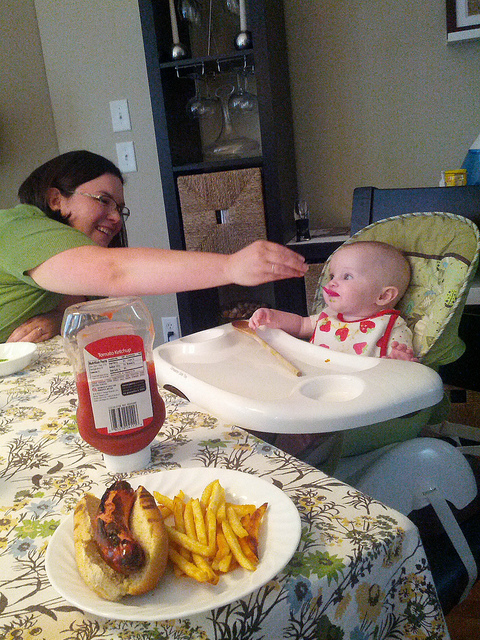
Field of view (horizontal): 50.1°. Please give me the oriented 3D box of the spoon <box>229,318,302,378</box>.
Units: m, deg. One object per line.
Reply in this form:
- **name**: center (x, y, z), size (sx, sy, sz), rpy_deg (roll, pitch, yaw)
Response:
- **spoon**: center (0.042, 0.047, 0.895), size (0.047, 0.030, 0.237), rpy_deg (-14, 24, -15)

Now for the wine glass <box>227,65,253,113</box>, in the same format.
- **wine glass**: center (-0.006, -0.906, 2.034), size (0.099, 0.185, 0.305), rpy_deg (-5, 13, 1)

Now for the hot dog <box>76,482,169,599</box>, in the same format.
- **hot dog**: center (-0.089, 0.157, 0.377), size (0.070, 0.040, 0.128), rpy_deg (-2, 5, -18)

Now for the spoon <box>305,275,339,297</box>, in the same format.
- **spoon**: center (0.202, -0.074, 1.176), size (0.010, 0.011, 0.062), rpy_deg (-23, 51, -31)
